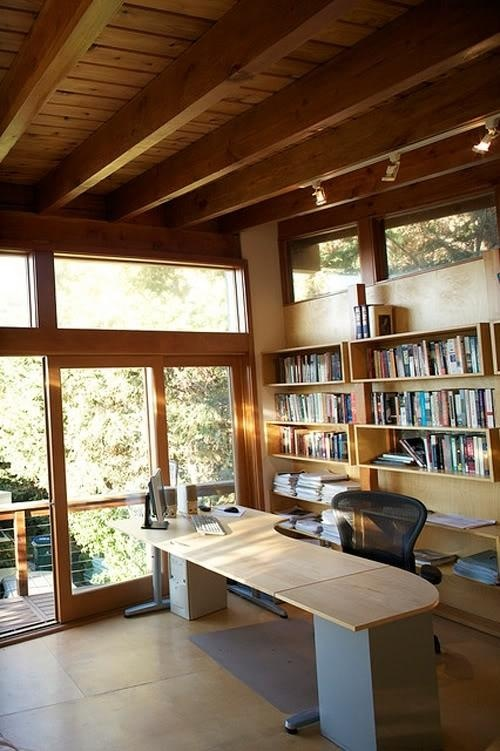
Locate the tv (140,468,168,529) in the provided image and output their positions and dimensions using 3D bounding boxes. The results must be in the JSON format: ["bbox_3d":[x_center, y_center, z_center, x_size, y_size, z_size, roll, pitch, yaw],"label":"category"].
[{"bbox_3d":[-0.632,0.846,3.894,0.261,0.522,0.516,0,-10,-9],"label":"tv"}]

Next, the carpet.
[{"bbox_3d":[0.014,1.632,3.086,0.475,0.007,0.674,2,-3,-27],"label":"carpet"}]
